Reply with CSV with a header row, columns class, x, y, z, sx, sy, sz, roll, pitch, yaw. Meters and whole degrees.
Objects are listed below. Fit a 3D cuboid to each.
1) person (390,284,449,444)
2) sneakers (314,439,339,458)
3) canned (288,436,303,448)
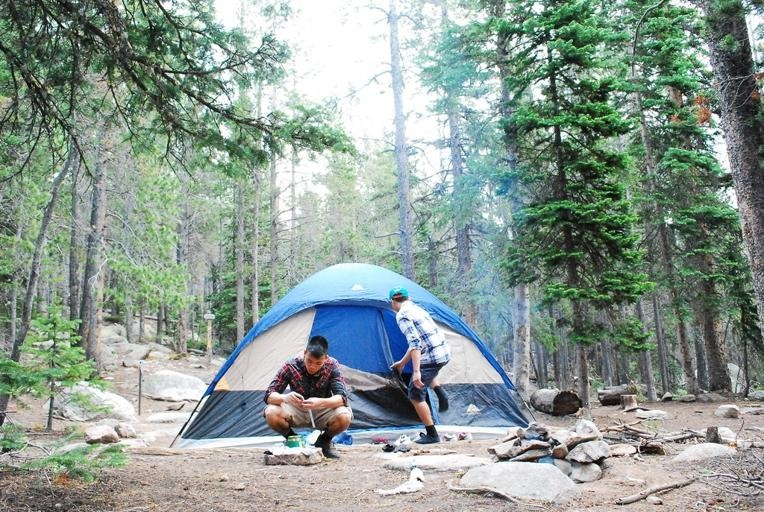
class,x,y,z,sx,sy,sz,roll,pitch,yaw
person,0.681,1.921,12.081,0.991,2.718,0.563,-2,-10,1
sneakers,-0.921,3.203,11.284,0.519,0.223,0.181,11,-17,40
canned,-1.501,3.098,11.403,0.194,0.125,0.197,0,-12,8
